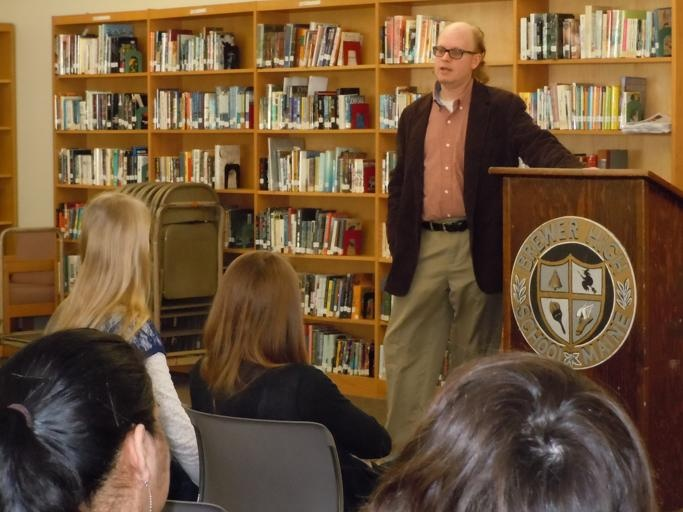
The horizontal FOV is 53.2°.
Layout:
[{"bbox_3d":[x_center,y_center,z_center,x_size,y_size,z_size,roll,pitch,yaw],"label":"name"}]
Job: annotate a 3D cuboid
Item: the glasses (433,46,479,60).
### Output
[{"bbox_3d":[0.564,-0.993,3.353,0.226,0.071,0.081,2,4,6],"label":"glasses"}]
